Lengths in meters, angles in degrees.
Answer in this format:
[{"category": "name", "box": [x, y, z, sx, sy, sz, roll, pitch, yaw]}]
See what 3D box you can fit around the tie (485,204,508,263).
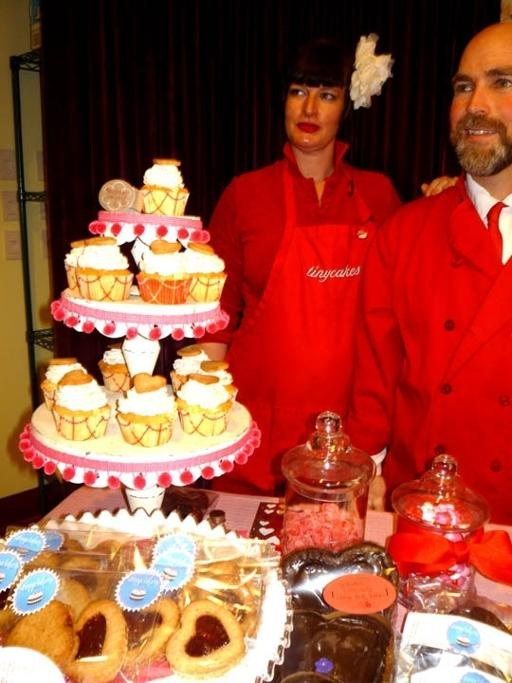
[{"category": "tie", "box": [0.746, -0.334, 1.670, 0.053, 0.182, 0.028, -1, -10, 11]}]
